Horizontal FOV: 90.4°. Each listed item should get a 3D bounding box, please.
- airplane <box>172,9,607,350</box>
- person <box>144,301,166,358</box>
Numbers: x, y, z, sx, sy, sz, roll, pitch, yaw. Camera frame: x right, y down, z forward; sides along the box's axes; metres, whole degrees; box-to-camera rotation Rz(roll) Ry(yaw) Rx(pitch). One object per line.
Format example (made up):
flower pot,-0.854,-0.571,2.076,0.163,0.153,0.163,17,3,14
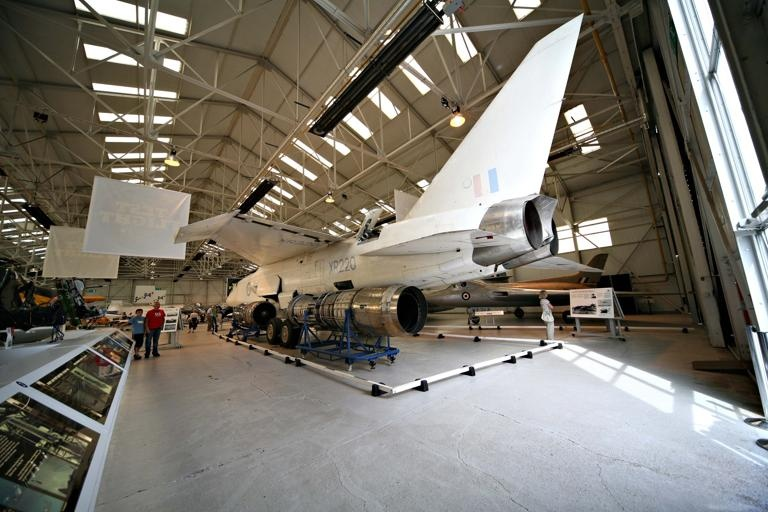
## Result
airplane,-0.096,-0.561,10.599,7.619,4.346,10.231,3,-4,-40
person,-6.532,2.036,10.823,0.444,1.563,1.404,5,-12,-28
